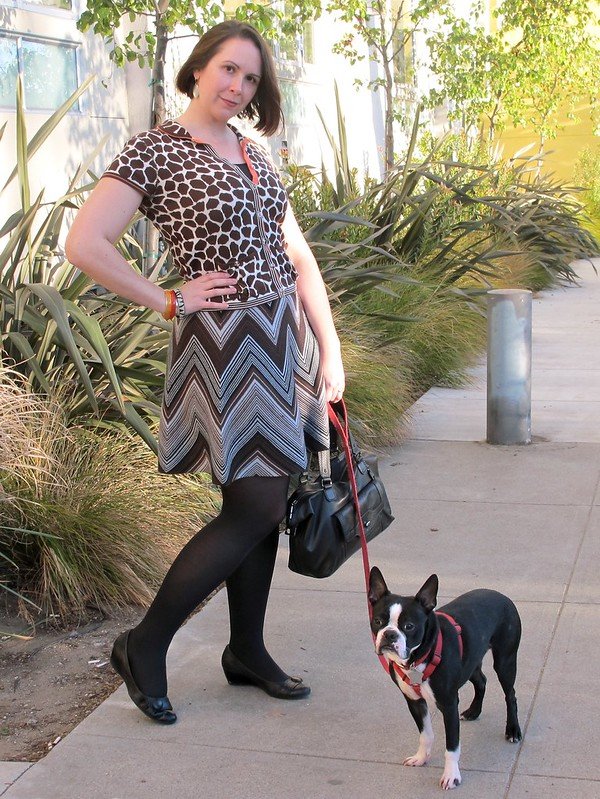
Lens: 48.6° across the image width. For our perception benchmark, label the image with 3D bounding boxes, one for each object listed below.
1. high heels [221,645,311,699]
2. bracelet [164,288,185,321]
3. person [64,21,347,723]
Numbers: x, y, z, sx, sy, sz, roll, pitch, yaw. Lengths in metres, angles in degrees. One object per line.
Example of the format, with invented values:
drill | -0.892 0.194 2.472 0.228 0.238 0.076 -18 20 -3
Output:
high heels | -0.105 0.685 1.728 0.275 0.111 0.095 4 -4 23
bracelet | -0.247 -0.189 1.305 0.031 0.054 0.046 0 5 -12
person | -0.149 0.093 1.462 0.600 1.327 0.402 -6 5 -16
